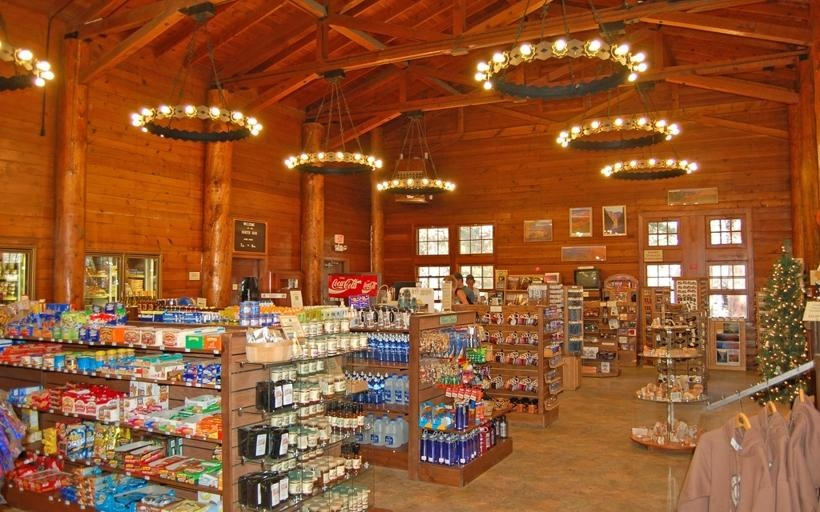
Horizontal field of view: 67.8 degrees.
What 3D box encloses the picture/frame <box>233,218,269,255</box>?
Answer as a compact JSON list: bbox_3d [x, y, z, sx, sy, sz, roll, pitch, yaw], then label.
[{"bbox_3d":[-3.885,-0.449,14.938,0.269,0.885,1.041,8,9,27],"label":"picture/frame"}]
